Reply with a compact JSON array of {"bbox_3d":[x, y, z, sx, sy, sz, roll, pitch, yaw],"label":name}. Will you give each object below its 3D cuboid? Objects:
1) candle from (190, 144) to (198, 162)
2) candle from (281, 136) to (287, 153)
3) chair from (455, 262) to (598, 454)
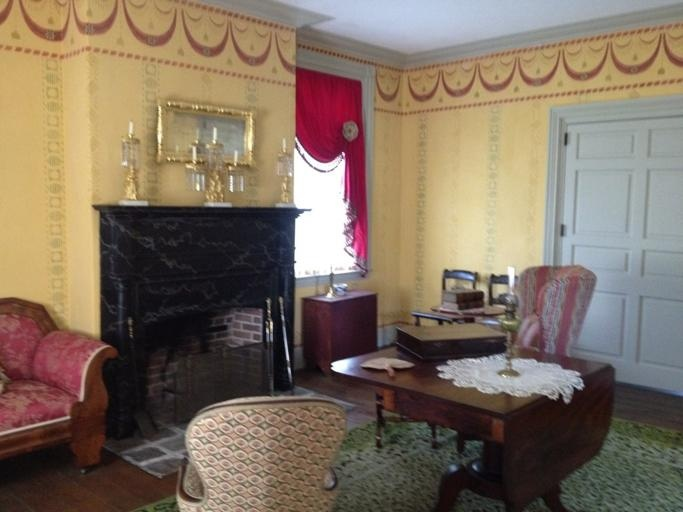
[{"bbox_3d":[-1.148,-0.790,4.255,0.046,0.130,0.122,-1,6,-17],"label":"candle"},{"bbox_3d":[-0.509,-0.981,4.819,0.053,0.126,0.143,0,5,-4],"label":"candle"},{"bbox_3d":[1.336,0.674,4.603,1.278,1.849,1.132,0,1,-10],"label":"chair"}]
